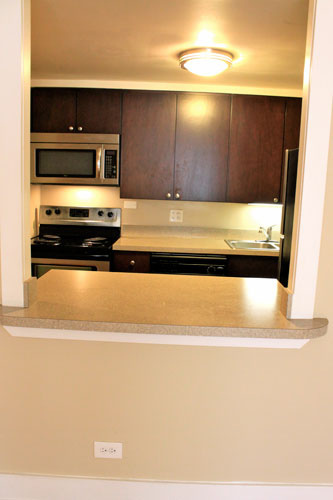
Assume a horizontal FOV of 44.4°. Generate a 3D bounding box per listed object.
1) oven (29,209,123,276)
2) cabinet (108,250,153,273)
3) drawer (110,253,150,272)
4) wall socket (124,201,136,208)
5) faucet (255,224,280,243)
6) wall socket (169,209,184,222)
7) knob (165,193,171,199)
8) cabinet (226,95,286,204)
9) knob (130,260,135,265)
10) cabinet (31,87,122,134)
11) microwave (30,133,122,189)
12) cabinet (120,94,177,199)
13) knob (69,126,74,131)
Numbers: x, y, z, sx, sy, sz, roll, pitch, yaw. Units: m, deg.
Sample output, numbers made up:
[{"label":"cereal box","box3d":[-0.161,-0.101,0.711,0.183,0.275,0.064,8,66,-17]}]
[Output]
[{"label":"oven","box3d":[-0.688,-0.061,3.157,0.486,0.684,0.344,1,7,6]},{"label":"cabinet","box3d":[-0.261,0.088,3.071,0.247,0.248,0.185,0,-1,0]},{"label":"drawer","box3d":[-0.275,0.087,3.072,0.235,0.147,0.145,0,3,1]},{"label":"wall socket","box3d":[-0.324,-0.400,3.601,0.089,0.061,0.049,0,5,-4]},{"label":"faucet","box3d":[0.879,-0.141,3.556,0.165,0.120,0.166,-1,1,-28]},{"label":"wall socket","box3d":[0.087,-0.310,3.640,0.106,0.094,0.015,2,14,2]},{"label":"knob","box3d":[0.012,-0.439,3.286,0.037,0.038,0.010,-8,7,1]},{"label":"cabinet","box3d":[0.696,-0.802,3.446,0.555,0.846,0.569,4,0,20]},{"label":"knob","box3d":[-0.257,0.094,3.066,0.036,0.032,0.020,1,8,-10]},{"label":"cabinet","box3d":[-0.708,-1.082,3.340,0.712,0.355,0.301,1,1,-1]},{"label":"microwave","box3d":[-0.751,-0.656,3.389,0.709,0.444,0.427,-1,-12,-7]},{"label":"cabinet","box3d":[-0.130,-0.924,3.439,0.475,0.885,0.510,3,34,-1]},{"label":"knob","box3d":[-0.748,-0.955,3.206,0.036,0.037,0.009,-4,3,-4]}]
